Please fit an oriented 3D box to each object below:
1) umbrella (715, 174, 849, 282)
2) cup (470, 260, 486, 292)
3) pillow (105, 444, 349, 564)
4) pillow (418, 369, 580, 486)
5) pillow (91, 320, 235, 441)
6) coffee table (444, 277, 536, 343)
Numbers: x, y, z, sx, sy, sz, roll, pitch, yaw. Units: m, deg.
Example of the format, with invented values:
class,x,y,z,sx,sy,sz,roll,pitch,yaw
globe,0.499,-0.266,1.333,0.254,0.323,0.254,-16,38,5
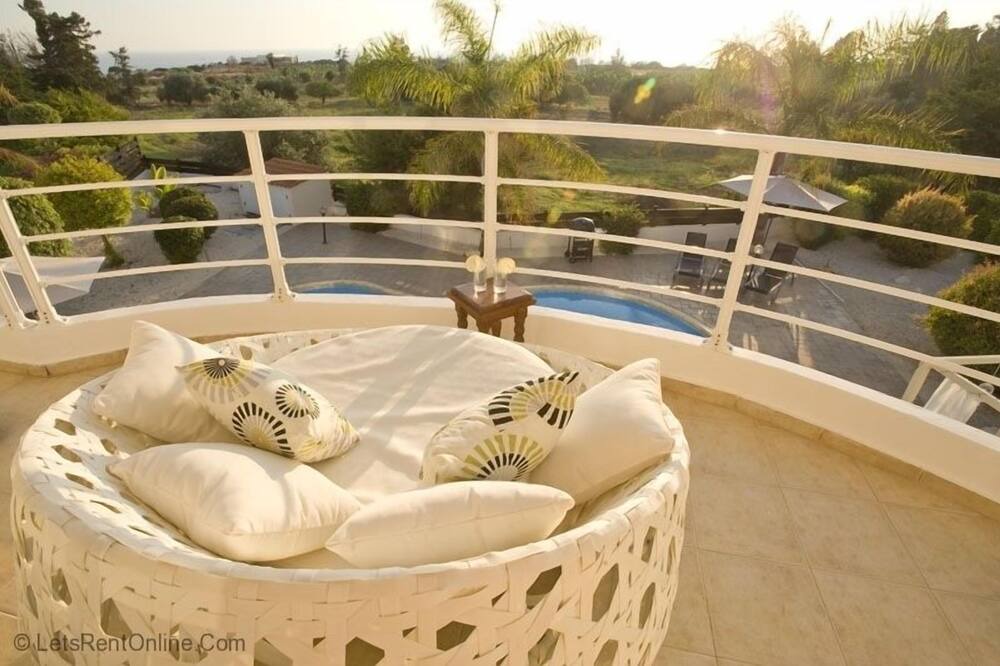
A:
class,x,y,z,sx,sy,sz,roll,pitch,yaw
umbrella,5.282,-2.180,10.964,1.666,1.385,3.024,19,27,28
cup,-0.131,-0.344,3.507,0.119,0.190,0.118,0,37,0
pillow,-0.833,0.531,1.880,0.687,0.216,0.411,18,20,12
pillow,0.059,0.369,2.143,0.289,0.365,0.480,-15,5,-43
pillow,-1.265,0.182,2.262,0.464,0.143,0.439,36,48,15
coffee table,-0.067,-0.217,3.593,0.397,0.405,0.383,-18,36,-30
